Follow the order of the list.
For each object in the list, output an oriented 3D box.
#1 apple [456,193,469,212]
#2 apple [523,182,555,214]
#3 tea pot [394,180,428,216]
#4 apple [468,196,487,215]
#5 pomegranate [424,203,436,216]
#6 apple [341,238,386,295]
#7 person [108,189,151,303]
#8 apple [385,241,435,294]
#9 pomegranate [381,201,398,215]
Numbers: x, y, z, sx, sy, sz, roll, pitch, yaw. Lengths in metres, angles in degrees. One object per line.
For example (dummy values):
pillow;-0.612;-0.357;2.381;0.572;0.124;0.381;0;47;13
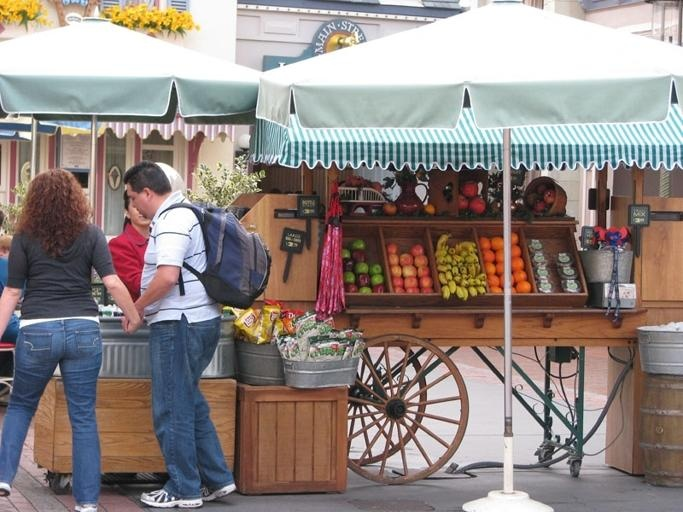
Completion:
apple;1.116;-0.494;10.254;0.128;0.128;0.131;3;16;-7
apple;1.832;-0.553;10.307;0.119;0.287;0.277;6;-26;-33
tea pot;0.630;-0.529;10.094;0.288;0.296;0.287;1;1;0
apple;1.250;-0.459;10.224;0.138;0.152;0.148;-1;6;23
pomegranate;0.801;-0.419;10.083;0.095;0.100;0.094;6;-24;-1
apple;0.178;0.113;9.799;0.419;0.443;0.160;-2;-17;-11
person;-1.653;-0.116;8.867;0.325;0.275;0.827;15;-40;0
apple;0.601;0.108;9.863;0.397;0.428;0.146;-4;-12;-4
pomegranate;0.445;-0.422;9.957;0.109;0.108;0.109;0;36;-8
